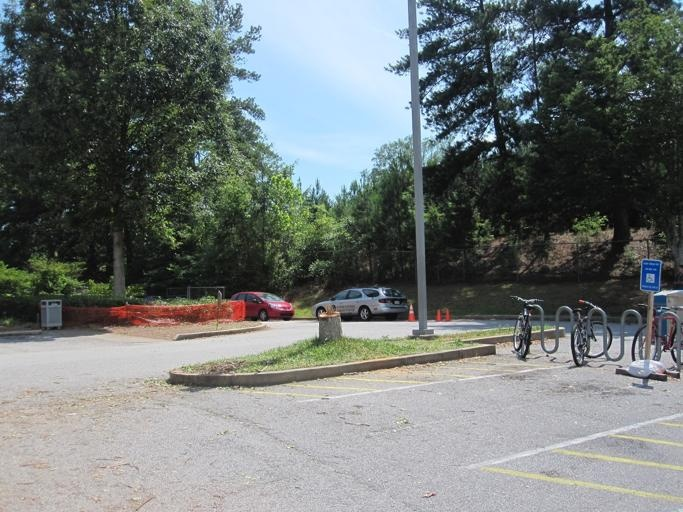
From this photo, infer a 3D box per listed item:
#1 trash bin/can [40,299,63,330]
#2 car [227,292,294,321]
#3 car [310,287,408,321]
[{"bbox_3d":[-12.392,2.503,31.124,0.846,1.261,0.688,-5,8,-26],"label":"trash bin/can"},{"bbox_3d":[-3.785,2.562,36.053,2.379,1.138,1.501,-8,-8,38],"label":"car"},{"bbox_3d":[1.130,2.334,34.768,4.162,1.712,2.794,-2,7,1],"label":"car"}]
